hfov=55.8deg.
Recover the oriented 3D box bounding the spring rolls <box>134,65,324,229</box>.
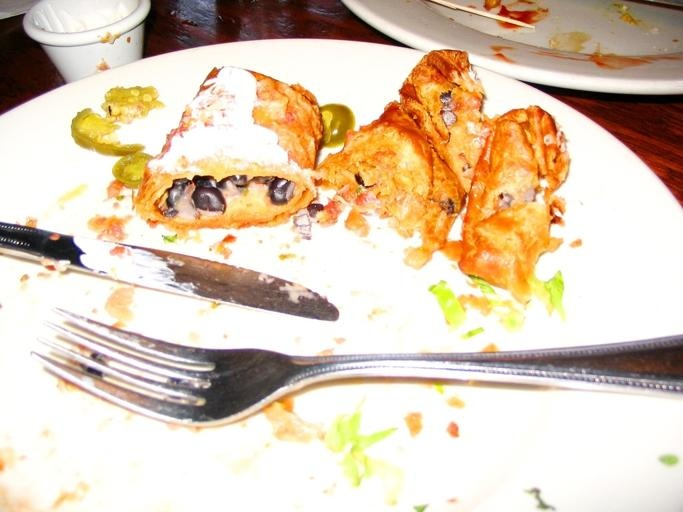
[{"bbox_3d":[-0.421,-0.420,2.532,0.684,0.409,0.575,6,58,-4],"label":"spring rolls"}]
